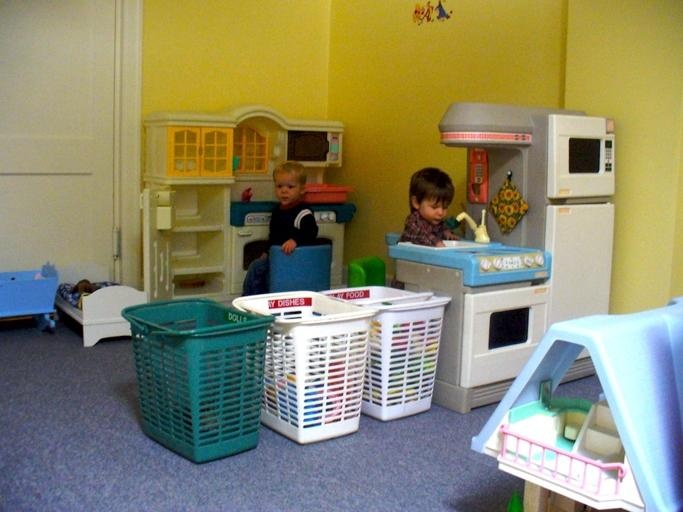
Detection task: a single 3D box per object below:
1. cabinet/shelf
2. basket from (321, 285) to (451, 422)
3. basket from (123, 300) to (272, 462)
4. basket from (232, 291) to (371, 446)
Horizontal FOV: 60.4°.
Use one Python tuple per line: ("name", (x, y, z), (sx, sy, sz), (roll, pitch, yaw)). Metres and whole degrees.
("cabinet/shelf", (-0.691, -0.347, 3.829), (1.284, 1.281, 0.542), (-6, 18, -30))
("basket", (0.195, 0.321, 2.546), (0.443, 0.551, 0.561), (2, 2, -23))
("basket", (-0.566, 0.418, 2.143), (0.451, 0.560, 0.652), (-2, 7, -36))
("basket", (-0.167, 0.339, 2.329), (0.483, 0.489, 0.512), (-5, 13, -36))
